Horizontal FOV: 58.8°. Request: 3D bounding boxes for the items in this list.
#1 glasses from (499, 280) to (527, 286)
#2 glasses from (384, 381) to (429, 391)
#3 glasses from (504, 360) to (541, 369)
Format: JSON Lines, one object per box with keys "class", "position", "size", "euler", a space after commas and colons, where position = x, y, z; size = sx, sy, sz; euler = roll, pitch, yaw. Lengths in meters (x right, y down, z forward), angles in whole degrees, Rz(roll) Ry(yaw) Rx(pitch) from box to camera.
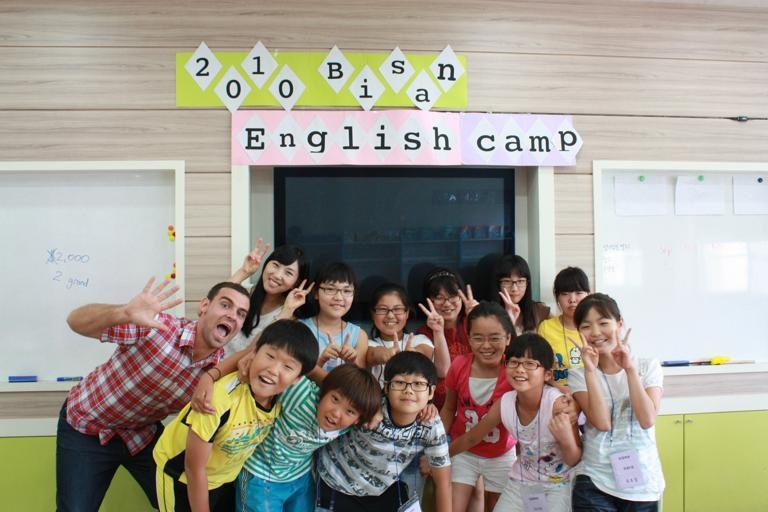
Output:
{"class": "glasses", "position": [0.827, 0.175, 4.366], "size": [0.157, 0.039, 0.048], "euler": [-1, 0, 13]}
{"class": "glasses", "position": [0.119, 0.702, 3.655], "size": [0.212, 0.059, 0.036], "euler": [-1, -1, -1]}
{"class": "glasses", "position": [0.756, 0.596, 3.732], "size": [0.175, 0.040, 0.031], "euler": [-1, -1, 14]}
